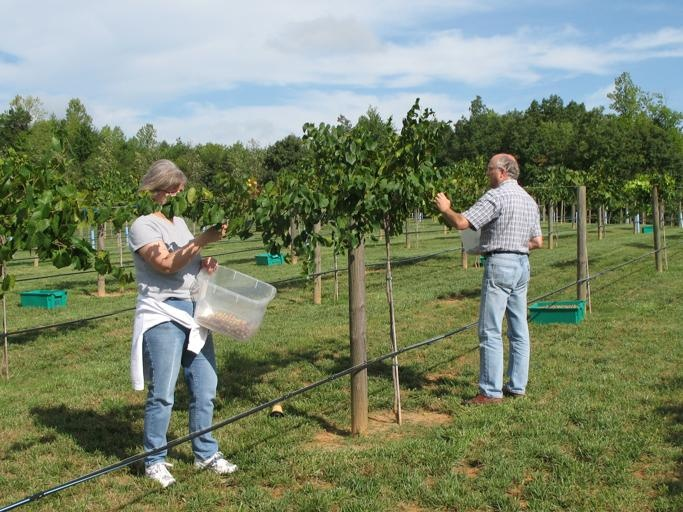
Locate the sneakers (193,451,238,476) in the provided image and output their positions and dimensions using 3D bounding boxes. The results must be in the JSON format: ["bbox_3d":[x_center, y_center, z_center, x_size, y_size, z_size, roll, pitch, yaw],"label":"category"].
[{"bbox_3d":[-1.135,1.867,6.036,0.343,0.171,0.185,2,1,3],"label":"sneakers"}]

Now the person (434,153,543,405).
[{"bbox_3d":[1.728,0.233,7.161,0.914,2.619,0.454,-9,10,-41],"label":"person"}]

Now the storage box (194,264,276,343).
[{"bbox_3d":[-0.969,0.432,6.188,0.710,0.534,0.576,21,-6,4],"label":"storage box"}]

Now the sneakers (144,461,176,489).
[{"bbox_3d":[-1.599,1.908,5.887,0.278,0.134,0.162,18,22,38],"label":"sneakers"}]

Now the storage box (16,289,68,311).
[{"bbox_3d":[-5.861,0.850,13.088,0.614,0.276,0.450,0,0,21],"label":"storage box"}]

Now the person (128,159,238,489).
[{"bbox_3d":[-1.451,0.584,5.844,0.810,2.847,0.543,-5,8,-20],"label":"person"}]

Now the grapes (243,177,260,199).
[{"bbox_3d":[-0.815,-0.633,6.132,0.062,0.168,0.131,-17,35,18],"label":"grapes"}]

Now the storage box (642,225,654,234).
[{"bbox_3d":[12.759,-1.110,27.690,0.353,0.261,0.990,1,9,22],"label":"storage box"}]
